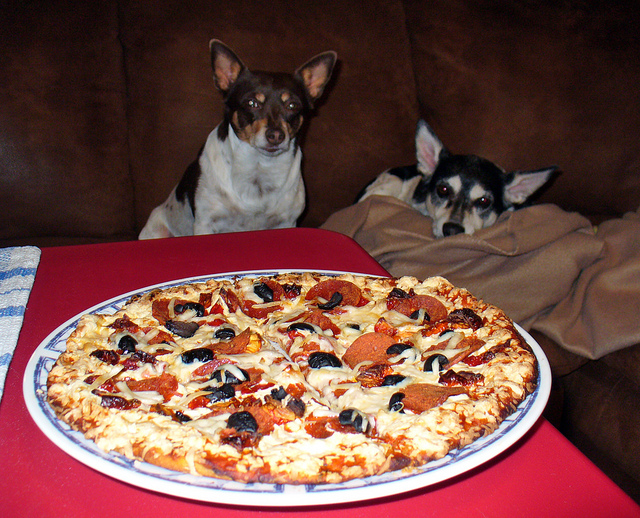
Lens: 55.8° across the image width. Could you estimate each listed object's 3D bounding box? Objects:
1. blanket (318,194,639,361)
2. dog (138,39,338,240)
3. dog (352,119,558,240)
[{"bbox_3d":[0.772,0.093,2.867,1.564,0.433,0.860,-4,19,-15],"label":"blanket"},{"bbox_3d":[-0.544,-0.822,4.514,1.109,1.349,1.531,2,7,-22],"label":"dog"},{"bbox_3d":[0.968,-0.412,4.260,1.061,0.510,0.973,13,20,13],"label":"dog"}]
